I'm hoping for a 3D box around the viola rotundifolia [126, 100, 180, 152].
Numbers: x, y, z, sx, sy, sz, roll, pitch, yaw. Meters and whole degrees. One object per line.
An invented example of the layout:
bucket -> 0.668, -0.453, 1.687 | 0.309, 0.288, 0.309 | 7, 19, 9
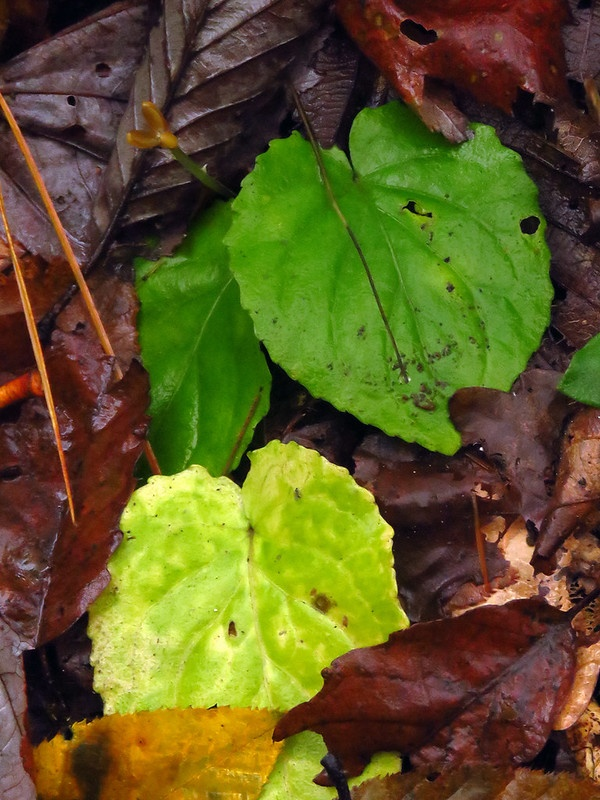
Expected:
viola rotundifolia -> -0.206, -0.390, 1.327 | 0.084, 0.084, 0.045 | 6, 23, -10
